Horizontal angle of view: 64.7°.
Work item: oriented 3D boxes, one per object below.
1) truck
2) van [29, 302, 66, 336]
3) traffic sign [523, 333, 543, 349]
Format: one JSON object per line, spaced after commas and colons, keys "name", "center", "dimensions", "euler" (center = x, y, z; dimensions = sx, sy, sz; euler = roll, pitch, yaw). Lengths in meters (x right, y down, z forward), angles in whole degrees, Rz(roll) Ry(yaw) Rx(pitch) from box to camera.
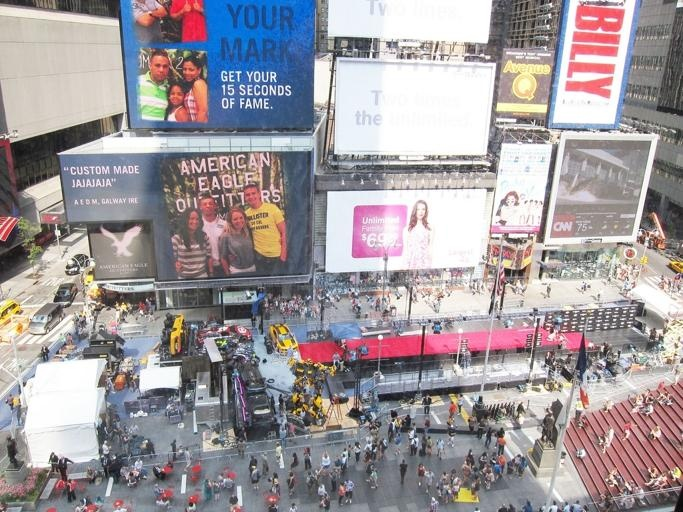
{"name": "truck", "center": [-8.222, 12.690, 50.038], "dimensions": [3.378, 2.704, 8.026], "euler": [2, 25, -23]}
{"name": "van", "center": [-33.537, 7.126, 61.655], "dimensions": [2.315, 2.070, 4.299], "euler": [4, 20, -1]}
{"name": "traffic sign", "center": [20.483, 9.251, 57.983], "dimensions": [2.112, 1.704, 0.764], "euler": [-6, 21, -11]}
